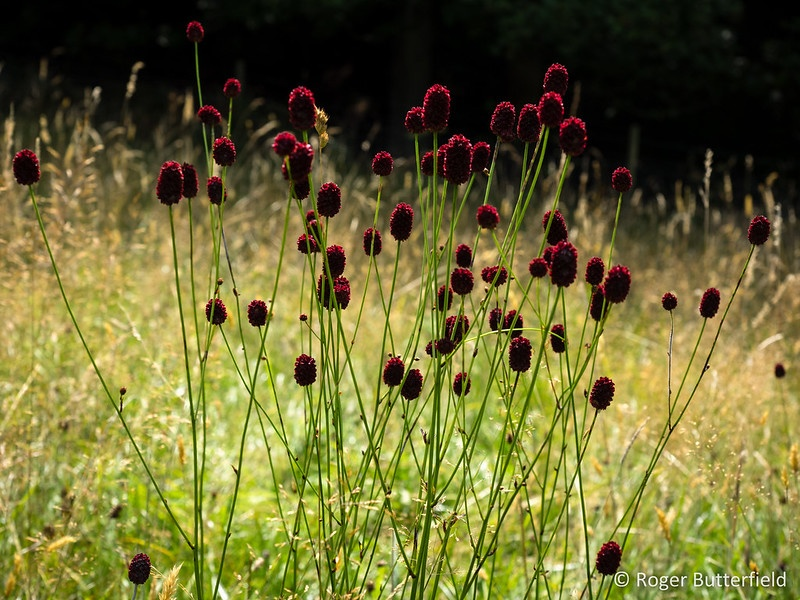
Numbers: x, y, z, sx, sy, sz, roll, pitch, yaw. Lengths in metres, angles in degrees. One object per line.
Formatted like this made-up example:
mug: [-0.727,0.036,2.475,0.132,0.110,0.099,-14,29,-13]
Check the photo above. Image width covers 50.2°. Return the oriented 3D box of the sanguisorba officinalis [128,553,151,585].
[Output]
sanguisorba officinalis: [-0.978,1.010,3.221,0.071,0.154,0.120,5,3,-14]

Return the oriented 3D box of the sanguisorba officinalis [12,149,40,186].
sanguisorba officinalis: [-1.452,-0.508,3.310,0.119,0.097,0.178,-12,-20,-26]

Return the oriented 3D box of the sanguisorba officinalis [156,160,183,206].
sanguisorba officinalis: [-0.873,-0.443,3.237,0.086,0.170,0.099,20,34,11]
